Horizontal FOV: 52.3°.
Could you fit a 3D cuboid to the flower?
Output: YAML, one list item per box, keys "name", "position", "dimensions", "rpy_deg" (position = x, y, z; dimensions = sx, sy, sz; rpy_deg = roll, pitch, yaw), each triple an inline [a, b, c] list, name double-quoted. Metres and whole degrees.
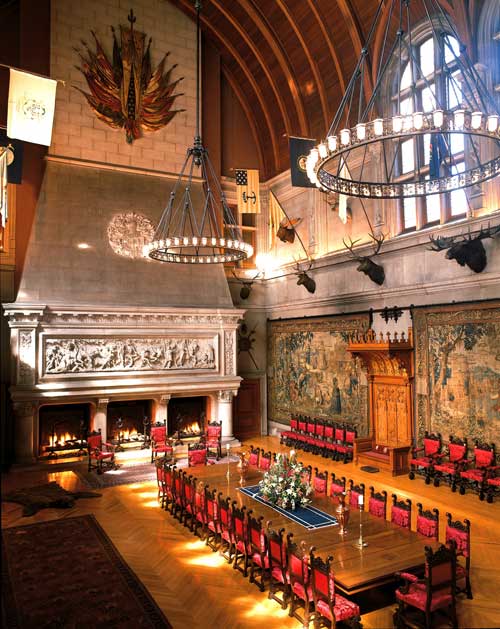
- name: "flower"
  position: [0.507, 2.402, 7.404]
  dimensions: [0.734, 0.829, 0.765]
  rpy_deg: [0, -2, -11]

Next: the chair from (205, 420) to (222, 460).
- name: "chair"
  position: [-0.981, 3.317, 13.412]
  dimensions: [0.612, 0.910, 0.616]
  rpy_deg: [-3, -6, 42]

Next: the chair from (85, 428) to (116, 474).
- name: "chair"
  position: [-3.575, 3.254, 12.154]
  dimensions: [0.550, 0.968, 0.672]
  rpy_deg: [-4, -3, 2]
